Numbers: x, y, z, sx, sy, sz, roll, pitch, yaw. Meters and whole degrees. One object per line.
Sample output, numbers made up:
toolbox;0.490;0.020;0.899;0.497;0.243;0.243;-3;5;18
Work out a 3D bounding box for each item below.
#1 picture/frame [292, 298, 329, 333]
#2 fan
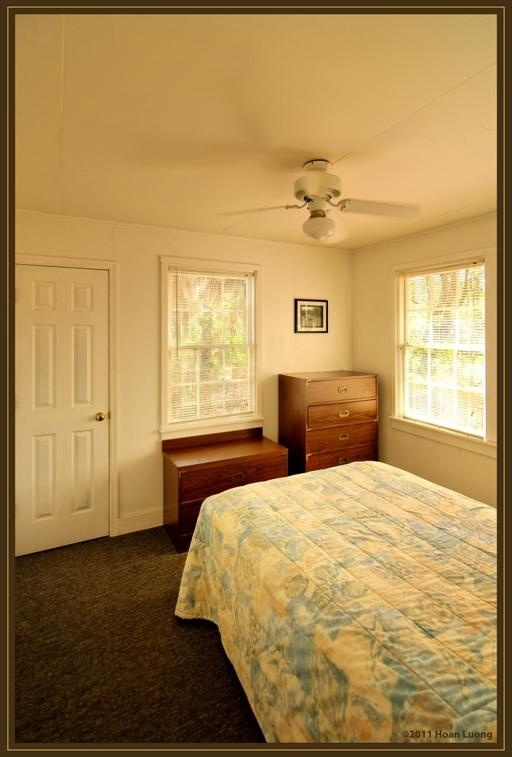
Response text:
picture/frame;0.442;-0.532;4.302;0.270;0.254;0.018;-3;3;-40
fan;0.327;-0.781;2.436;0.523;0.281;0.562;-1;-6;-7
